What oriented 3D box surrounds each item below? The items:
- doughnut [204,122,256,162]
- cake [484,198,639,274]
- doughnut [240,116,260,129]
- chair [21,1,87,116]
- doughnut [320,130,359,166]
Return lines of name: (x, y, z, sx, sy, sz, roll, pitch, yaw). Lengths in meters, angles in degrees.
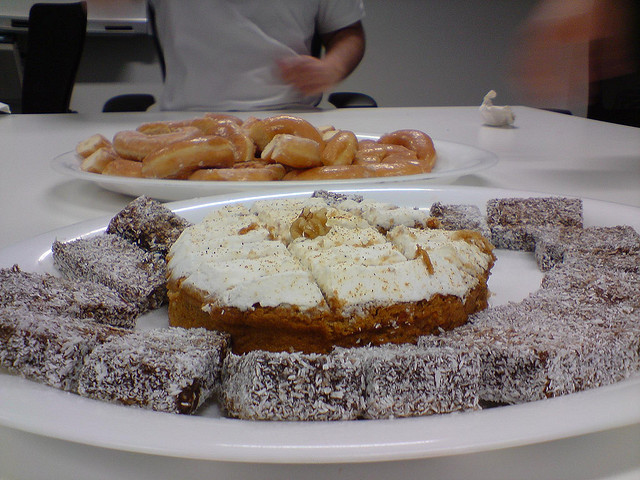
doughnut: (-0.369, -0.355, 2.228, 0.173, 0.064, 0.184, 36, 20, 22)
cake: (0.610, -0.038, 1.490, 0.244, 0.070, 0.256, 1, 20, 6)
doughnut: (-0.308, -0.514, 2.401, 0.080, 0.028, 0.083, -22, 21, 17)
chair: (-2.259, -1.519, 4.653, 0.646, 0.929, 0.358, 13, 28, 23)
doughnut: (0.090, -0.396, 2.260, 0.094, 0.068, 0.179, 8, -4, -36)
